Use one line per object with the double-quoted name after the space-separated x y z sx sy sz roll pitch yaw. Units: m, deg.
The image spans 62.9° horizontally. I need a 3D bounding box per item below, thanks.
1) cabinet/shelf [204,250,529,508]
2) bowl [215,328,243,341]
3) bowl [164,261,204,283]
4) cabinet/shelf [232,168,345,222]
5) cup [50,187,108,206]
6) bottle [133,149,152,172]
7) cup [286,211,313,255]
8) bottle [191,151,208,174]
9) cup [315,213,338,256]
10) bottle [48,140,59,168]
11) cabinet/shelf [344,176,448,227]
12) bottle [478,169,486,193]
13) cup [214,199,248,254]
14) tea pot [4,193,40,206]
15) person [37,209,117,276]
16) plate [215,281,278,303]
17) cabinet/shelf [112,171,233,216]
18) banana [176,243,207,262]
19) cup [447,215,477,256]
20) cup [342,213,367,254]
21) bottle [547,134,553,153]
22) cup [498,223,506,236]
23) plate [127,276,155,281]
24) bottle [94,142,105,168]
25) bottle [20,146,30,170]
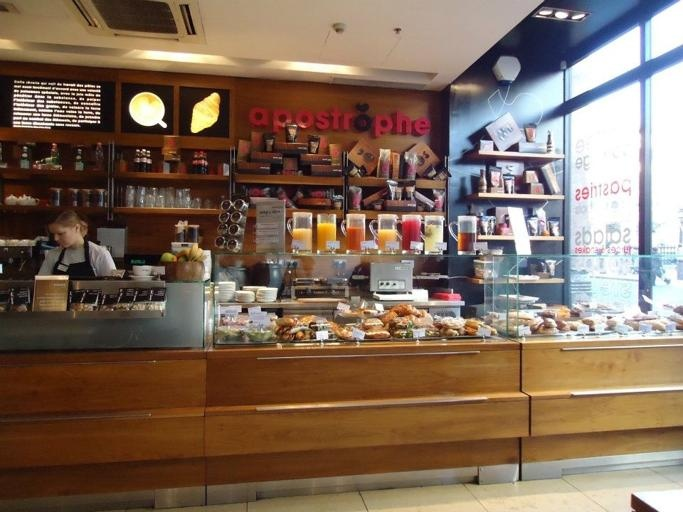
-0.033 0.970 4.498 3.161 1.029 1.750 0 -2 -10 "cabinet/shelf"
-0.735 0.516 3.674 0.213 0.078 0.108 3 -3 -4 "bowl"
-1.024 0.103 3.673 0.256 0.099 0.156 0 3 -11 "bowl"
-0.525 -0.689 5.984 1.162 0.278 0.288 0 -4 2 "cabinet/shelf"
-2.605 -0.581 5.596 0.463 0.104 0.268 0 1 -5 "cup"
-2.033 -0.992 5.748 0.179 0.200 0.227 1 0 -18 "bottle"
-0.270 -0.166 3.824 0.136 0.286 0.196 2 -1 -7 "cup"
-1.462 -0.981 5.815 0.179 0.189 0.230 1 0 -13 "bottle"
-0.095 -0.157 3.851 0.138 0.268 0.182 2 0 -1 "cup"
-2.851 -1.007 5.589 0.091 0.223 0.305 2 0 -26 "bottle"
0.529 -0.617 6.111 1.213 0.336 0.364 -1 3 -19 "cabinet/shelf"
1.537 -0.822 6.122 0.096 0.281 0.240 2 0 11 "bottle"
-0.742 -0.204 3.891 0.270 0.342 0.095 2 -21 12 "cup"
-3.132 -0.535 5.447 0.222 0.066 0.198 -1 -2 28 "tea pot"
-2.241 -0.110 4.762 0.907 0.581 0.430 0 -1 -2 "person"
-0.592 0.230 3.698 0.285 0.068 0.200 3 4 35 "plate"
-1.714 -0.615 5.742 1.119 0.244 0.265 0 -3 -13 "cabinet/shelf"
-0.976 -0.022 3.757 0.191 0.068 0.176 -10 12 -39 "banana"
0.880 -0.147 3.957 0.131 0.274 0.220 1 0 15 "cup"
0.092 -0.161 3.865 0.122 0.275 0.195 2 0 -3 "cup"
2.290 -1.258 6.192 0.071 0.247 0.118 1 -1 17 "bottle"
1.772 -0.297 6.115 0.126 0.128 0.079 1 0 -23 "cup"
-1.297 0.141 3.628 0.159 0.034 0.105 1 0 -13 "plate"
-2.440 -1.010 5.671 0.104 0.225 0.156 2 -1 -23 "bottle"
-3.117 -0.981 5.543 0.102 0.223 0.316 2 0 -29 "bottle"
